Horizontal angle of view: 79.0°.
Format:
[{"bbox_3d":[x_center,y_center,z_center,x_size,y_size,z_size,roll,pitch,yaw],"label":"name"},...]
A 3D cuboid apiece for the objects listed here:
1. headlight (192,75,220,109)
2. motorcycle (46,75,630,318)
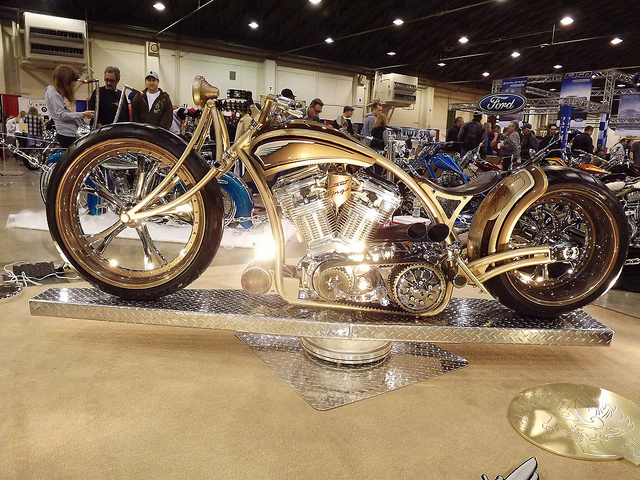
[{"bbox_3d":[-0.638,-0.838,2.188,0.118,0.174,0.173,6,36,-5],"label":"headlight"},{"bbox_3d":[0.154,-0.182,2.372,3.441,1.457,1.066,3,-6,-2],"label":"motorcycle"}]
